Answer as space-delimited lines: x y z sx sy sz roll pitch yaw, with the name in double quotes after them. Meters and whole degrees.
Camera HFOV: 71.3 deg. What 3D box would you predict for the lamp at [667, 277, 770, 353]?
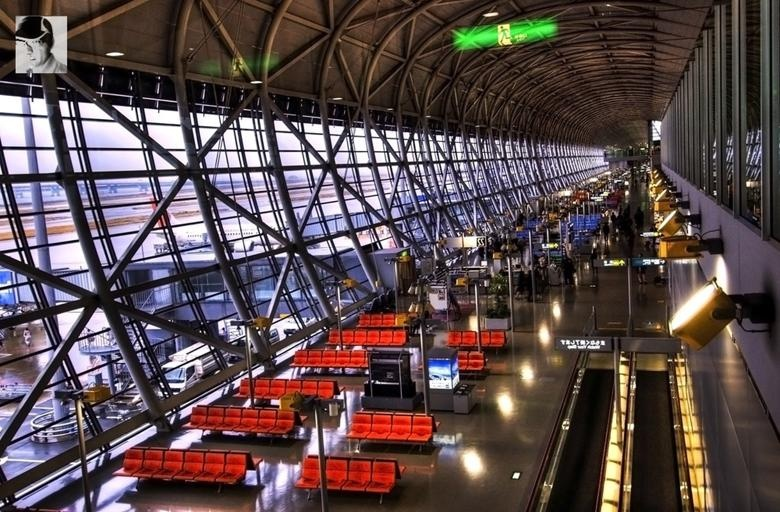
5.100 0.998 8.526 1.483 0.844 1.032 -13 5 12 "lamp"
